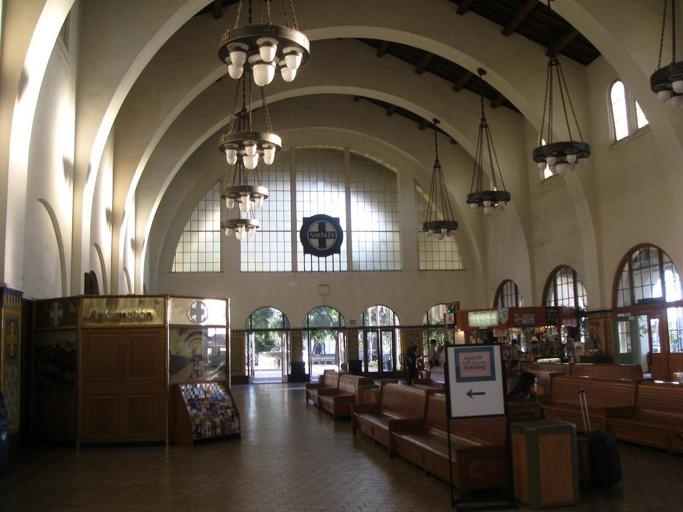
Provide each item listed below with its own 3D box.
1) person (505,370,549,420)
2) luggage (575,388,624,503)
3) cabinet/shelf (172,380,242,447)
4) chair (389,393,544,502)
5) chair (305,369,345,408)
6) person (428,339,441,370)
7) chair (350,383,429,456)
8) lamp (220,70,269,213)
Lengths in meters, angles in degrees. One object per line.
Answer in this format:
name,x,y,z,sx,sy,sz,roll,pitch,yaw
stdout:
person,2.960,2.334,8.747,0.508,0.954,0.593,6,-5,-3
luggage,4.006,2.776,8.477,0.509,1.391,0.409,4,-27,-16
cabinet/shelf,-3.061,3.497,12.286,0.723,1.356,1.451,-9,-14,33
chair,1.815,3.008,9.415,1.066,1.366,3.413,4,-10,-12
chair,-0.566,4.402,17.778,0.845,1.270,1.658,3,-6,-20
person,3.721,3.903,22.095,0.391,1.027,2.080,-3,-5,8
chair,0.993,3.344,11.441,0.850,1.262,2.231,6,-9,-17
lamp,-3.086,-3.877,17.156,1.530,5.150,1.614,-1,-9,21
